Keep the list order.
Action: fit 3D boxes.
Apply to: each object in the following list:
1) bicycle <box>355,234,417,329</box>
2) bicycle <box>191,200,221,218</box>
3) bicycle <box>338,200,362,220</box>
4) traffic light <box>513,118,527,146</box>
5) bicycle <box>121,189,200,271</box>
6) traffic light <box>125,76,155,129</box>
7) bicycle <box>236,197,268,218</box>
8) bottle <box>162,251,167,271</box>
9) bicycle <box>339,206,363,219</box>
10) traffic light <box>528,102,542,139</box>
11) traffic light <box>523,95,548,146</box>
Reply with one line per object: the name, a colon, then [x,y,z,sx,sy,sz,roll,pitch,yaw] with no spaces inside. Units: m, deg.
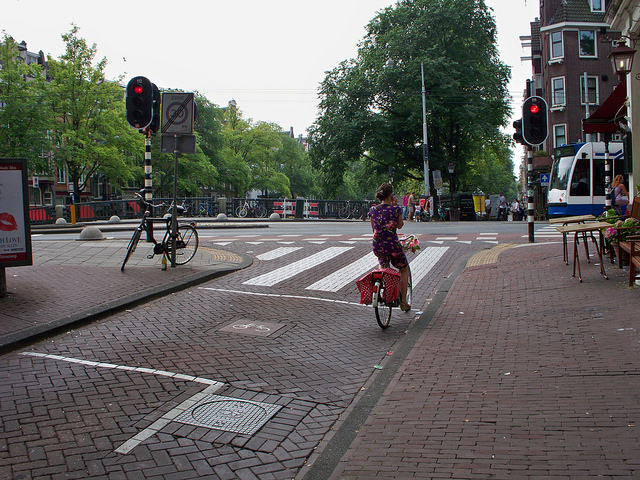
bicycle: [0.826,0.610,8.181,0.595,0.836,1.353,0,9,24]
bicycle: [-7.168,-1.915,38.278,1.982,1.204,1.042,-3,6,-18]
bicycle: [1.943,-1.750,38.137,1.608,1.021,0.811,1,6,-3]
traffic light: [4.776,-2.581,14.512,0.327,0.609,0.736,3,8,17]
bicycle: [-3.097,-0.148,11.518,0.949,1.350,2.065,22,14,29]
traffic light: [-3.508,-2.634,11.883,0.516,1.111,0.462,-4,-15,-2]
bicycle: [-4.181,-1.950,37.557,1.869,1.201,0.947,2,2,-2]
bottle: [-2.851,0.395,11.174,0.080,0.288,0.313,-2,8,-15]
bicycle: [1.982,-1.708,37.770,1.355,0.847,0.683,0,0,-1]
traffic light: [4.995,-2.773,14.124,0.316,0.812,0.125,-1,8,-9]
traffic light: [5.012,-2.723,14.167,0.515,1.181,0.463,-2,-12,22]
